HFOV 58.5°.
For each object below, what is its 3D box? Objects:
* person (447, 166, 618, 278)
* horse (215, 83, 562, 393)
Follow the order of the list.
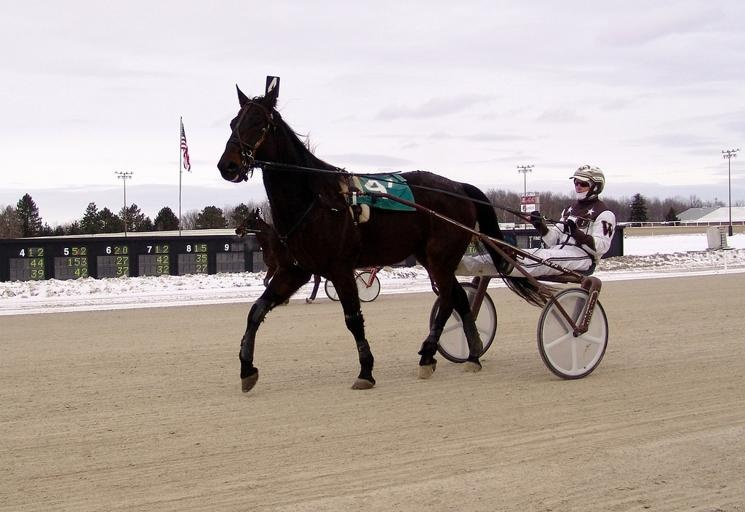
[{"bbox_3d":[1.767,-0.341,7.244,1.866,1.430,0.885,-2,6,-22],"label":"person"},{"bbox_3d":[0.112,-0.123,7.075,3.732,2.792,0.832,2,-4,-32],"label":"horse"}]
